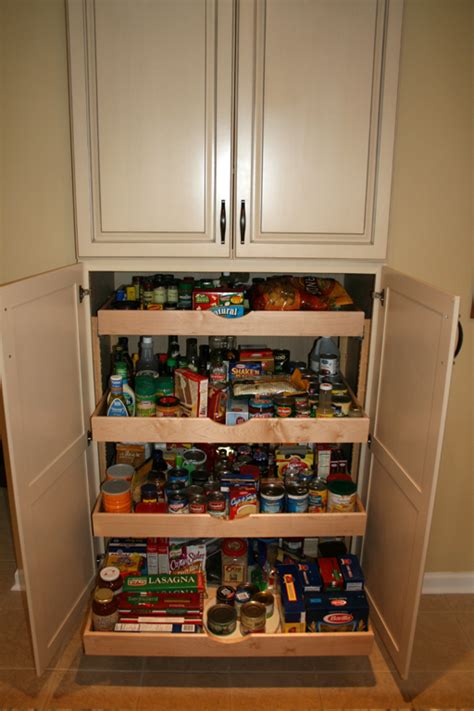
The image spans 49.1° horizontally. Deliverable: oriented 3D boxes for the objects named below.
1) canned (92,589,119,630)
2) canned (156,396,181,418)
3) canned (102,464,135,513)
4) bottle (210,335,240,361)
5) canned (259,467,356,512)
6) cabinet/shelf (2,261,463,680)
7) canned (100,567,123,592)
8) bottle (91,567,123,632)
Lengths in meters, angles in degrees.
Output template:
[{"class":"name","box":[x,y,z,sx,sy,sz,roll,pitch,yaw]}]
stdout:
[{"class":"canned","box":[-0.397,0.766,1.555,0.081,0.131,0.067,-2,11,-18]},{"class":"canned","box":[-0.214,0.161,1.629,0.060,0.062,0.064,9,34,11]},{"class":"canned","box":[-0.382,0.435,1.707,0.076,0.103,0.147,2,23,-3]},{"class":"bottle","box":[-0.044,-0.050,1.861,0.102,0.111,0.082,-2,23,-5]},{"class":"canned","box":[0.257,0.452,1.702,0.172,0.066,0.168,1,10,1]},{"class":"cabinet/shelf","box":[-0.025,0.365,1.705,1.083,1.283,0.966,1,11,-1]},{"class":"canned","box":[-0.394,0.701,1.621,0.066,0.071,0.070,0,19,-1]},{"class":"bottle","box":[-0.391,0.733,1.569,0.084,0.149,0.153,1,31,-3]}]
